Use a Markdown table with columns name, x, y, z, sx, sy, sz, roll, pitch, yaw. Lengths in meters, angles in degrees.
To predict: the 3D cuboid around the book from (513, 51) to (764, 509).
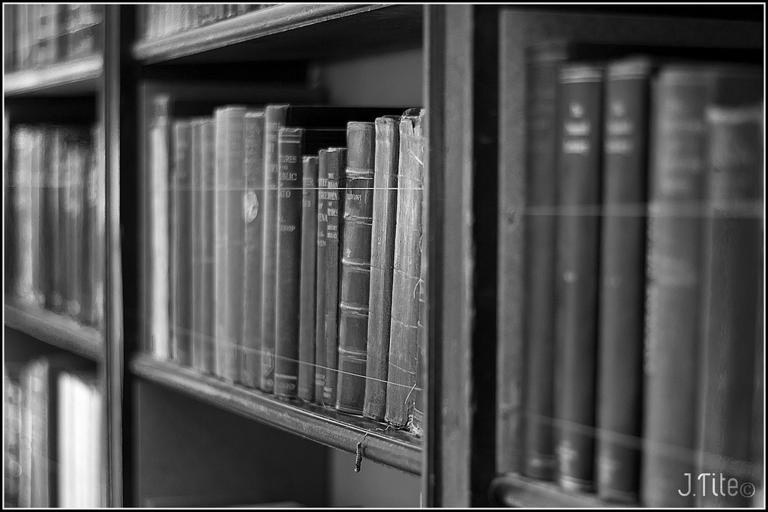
| name | x | y | z | sx | sy | sz | roll | pitch | yaw |
| --- | --- | --- | --- | --- | --- | --- | --- | --- | --- |
| book | 0.287 | 0.029 | 0.962 | 0.277 | 0.504 | 0.036 | 4 | 5 | 18 |

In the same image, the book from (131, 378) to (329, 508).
| name | x | y | z | sx | sy | sz | roll | pitch | yaw |
| --- | --- | --- | --- | --- | --- | --- | --- | --- | --- |
| book | -0.295 | 0.328 | 1.538 | 0.337 | 0.284 | 0.110 | 6 | -4 | -42 |

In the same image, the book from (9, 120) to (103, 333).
| name | x | y | z | sx | sy | sz | roll | pitch | yaw |
| --- | --- | --- | --- | --- | --- | --- | --- | --- | --- |
| book | -0.671 | -0.069 | 1.758 | 0.094 | 0.367 | 0.396 | 2 | 7 | -35 |

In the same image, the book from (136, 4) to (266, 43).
| name | x | y | z | sx | sy | sz | roll | pitch | yaw |
| --- | --- | --- | --- | --- | --- | --- | --- | --- | --- |
| book | -0.317 | -0.369 | 1.431 | 0.115 | 0.026 | 0.118 | 2 | 2 | 41 |
